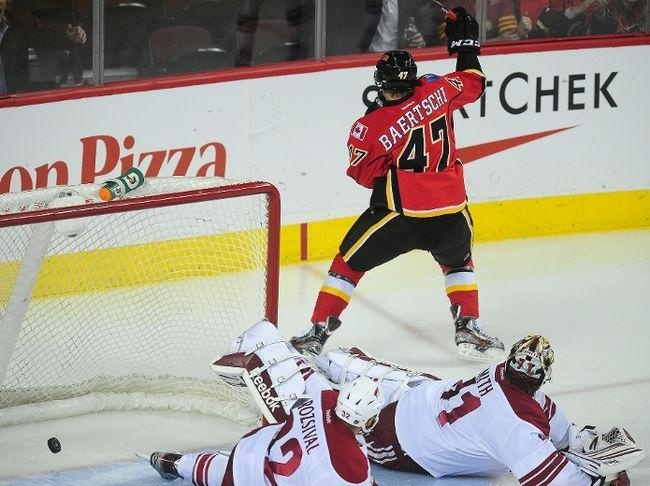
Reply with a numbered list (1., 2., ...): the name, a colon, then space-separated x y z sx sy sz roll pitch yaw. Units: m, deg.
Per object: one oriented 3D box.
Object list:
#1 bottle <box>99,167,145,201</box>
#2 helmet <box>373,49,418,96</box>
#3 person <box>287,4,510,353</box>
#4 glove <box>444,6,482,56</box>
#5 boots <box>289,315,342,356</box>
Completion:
1. bottle: -1.008 -0.294 4.384 0.182 0.151 0.295 7 10 38
2. helmet: 0.389 -0.977 4.941 0.267 0.224 0.217 8 29 19
3. person: 0.419 -0.361 5.063 1.041 1.987 0.301 -2 8 -21
4. glove: 0.790 -1.248 5.208 0.209 0.264 0.111 -4 -5 -5
5. boots: -0.116 0.538 5.121 0.202 0.139 0.073 17 -26 -30
